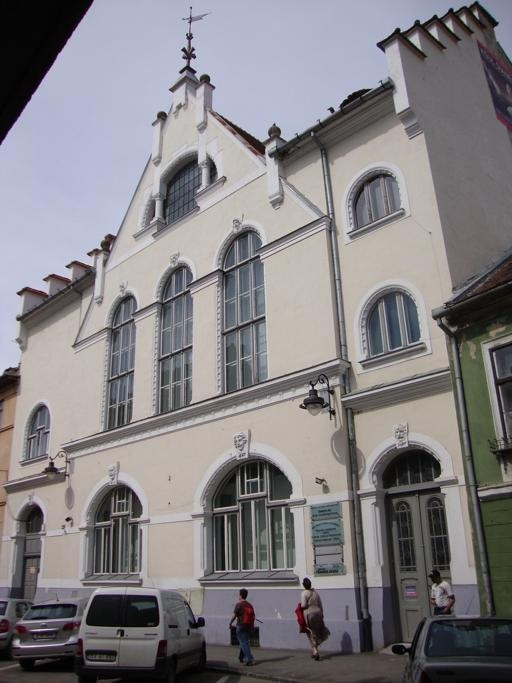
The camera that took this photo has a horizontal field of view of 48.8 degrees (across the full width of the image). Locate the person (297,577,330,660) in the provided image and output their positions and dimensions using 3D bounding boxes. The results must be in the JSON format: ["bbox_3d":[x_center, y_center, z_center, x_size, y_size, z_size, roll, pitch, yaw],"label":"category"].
[{"bbox_3d":[1.221,6.017,12.397,0.639,1.569,1.075,-5,-20,3],"label":"person"}]

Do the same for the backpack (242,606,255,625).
[{"bbox_3d":[-0.177,6.113,12.677,0.177,0.450,0.392,-14,-22,23],"label":"backpack"}]

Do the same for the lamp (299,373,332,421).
[{"bbox_3d":[1.511,1.302,14.202,0.761,1.123,0.927,-22,-32,39],"label":"lamp"}]

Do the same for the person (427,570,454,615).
[{"bbox_3d":[3.684,4.975,11.261,0.465,0.830,0.712,-9,-21,13],"label":"person"}]

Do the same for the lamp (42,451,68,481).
[{"bbox_3d":[-8.205,5.088,23.102,0.746,1.254,1.050,-28,-39,30],"label":"lamp"}]
